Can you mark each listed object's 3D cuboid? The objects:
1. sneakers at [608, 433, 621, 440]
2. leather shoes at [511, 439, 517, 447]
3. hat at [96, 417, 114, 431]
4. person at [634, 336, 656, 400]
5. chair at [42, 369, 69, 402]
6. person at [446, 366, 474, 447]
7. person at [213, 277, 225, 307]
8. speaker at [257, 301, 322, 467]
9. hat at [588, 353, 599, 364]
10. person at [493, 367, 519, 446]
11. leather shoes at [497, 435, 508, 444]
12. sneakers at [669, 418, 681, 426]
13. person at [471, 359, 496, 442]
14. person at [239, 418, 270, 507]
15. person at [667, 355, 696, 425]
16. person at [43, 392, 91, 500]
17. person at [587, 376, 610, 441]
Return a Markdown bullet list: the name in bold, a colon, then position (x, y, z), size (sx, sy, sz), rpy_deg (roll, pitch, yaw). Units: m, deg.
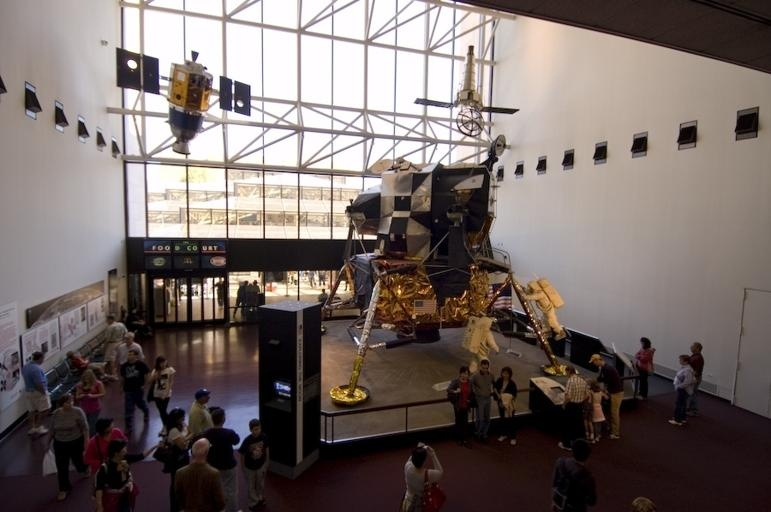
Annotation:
- **sneakers**: position (5.692, 4.473, 13.862), size (0.271, 0.117, 0.111), rpy_deg (5, 7, 30)
- **leather shoes**: position (3.124, 4.548, 13.581), size (0.132, 0.104, 0.262), rpy_deg (-2, -5, 11)
- **hat**: position (-5.774, 3.489, 11.492), size (0.305, 0.328, 0.241), rpy_deg (-6, 7, -38)
- **person**: position (7.179, 3.124, 15.467), size (0.407, 1.700, 1.408), rpy_deg (1, 6, 24)
- **chair**: position (-8.604, 3.391, 14.520), size (0.412, 0.403, 0.925), rpy_deg (9, 10, -7)
- **person**: position (1.858, 3.579, 13.460), size (0.483, 1.912, 0.799), rpy_deg (1, 6, 26)
- **person**: position (-6.340, 1.413, 21.570), size (0.363, 1.111, 0.165), rpy_deg (-1, 6, 2)
- **speaker**: position (-2.215, 3.097, 13.092), size (1.154, 3.703, 1.335), rpy_deg (-2, -3, 30)
- **hat**: position (5.177, 2.560, 13.966), size (0.222, 0.198, 0.330), rpy_deg (-13, 7, -35)
- **person**: position (2.961, 3.613, 13.737), size (0.521, 1.912, 0.608), rpy_deg (-1, 6, 10)
- **leather shoes**: position (2.863, 4.486, 13.724), size (0.242, 0.104, 0.103), rpy_deg (3, -6, -42)
- **sneakers**: position (7.494, 4.289, 14.447), size (0.241, 0.104, 0.112), rpy_deg (8, 6, 29)
- **person**: position (2.383, 3.475, 13.635), size (0.513, 2.037, 0.666), rpy_deg (-1, 6, 11)
- **person**: position (-2.759, 4.398, 11.778), size (0.556, 1.974, 0.225), rpy_deg (-3, 6, -13)
- **person**: position (7.763, 3.423, 14.556), size (0.576, 1.799, 0.865), rpy_deg (2, 7, 30)
- **person**: position (-6.844, 4.096, 12.219), size (0.724, 2.286, 0.529), rpy_deg (-3, 6, -8)
- **person**: position (5.241, 3.758, 13.741), size (0.335, 1.588, 0.871), rpy_deg (3, 7, 37)
